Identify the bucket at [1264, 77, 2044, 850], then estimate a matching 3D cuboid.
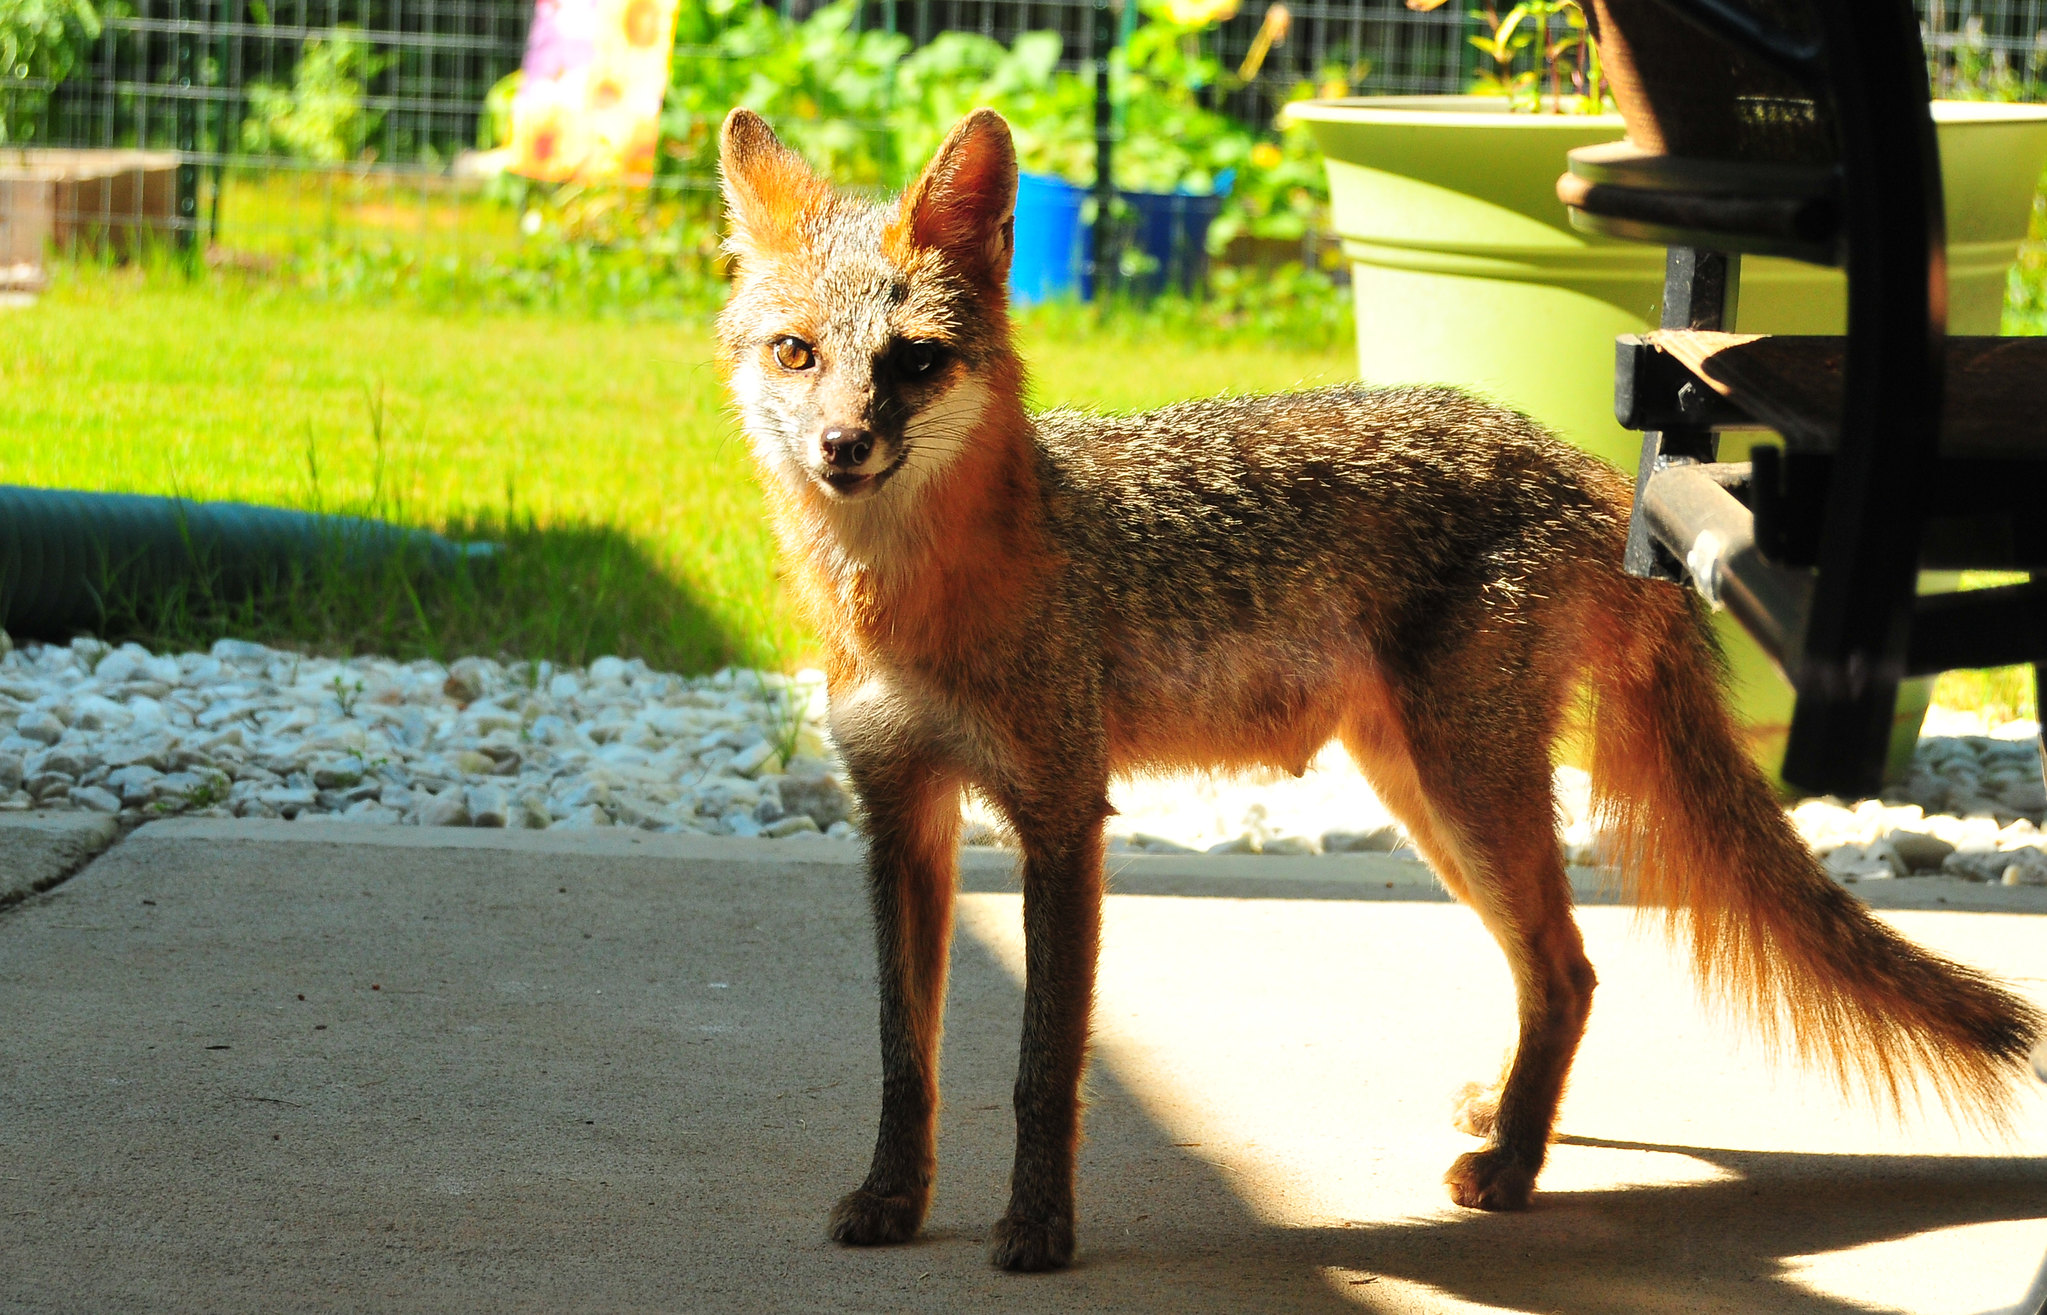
[{"bbox_3d":[1.822,-0.738,7.714,2.118,1.826,2.138,0,9,0],"label":"bucket"}]
